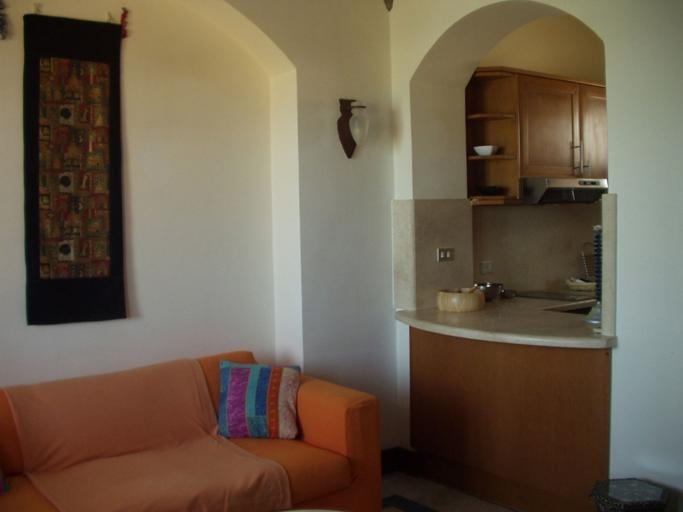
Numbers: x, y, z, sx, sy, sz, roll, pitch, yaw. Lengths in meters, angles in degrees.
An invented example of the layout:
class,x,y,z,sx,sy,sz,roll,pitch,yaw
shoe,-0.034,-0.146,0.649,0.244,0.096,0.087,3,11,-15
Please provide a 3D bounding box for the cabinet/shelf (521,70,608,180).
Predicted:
class,x,y,z,sx,sy,sz,roll,pitch,yaw
cabinet/shelf,1.889,-0.936,4.813,0.905,0.921,0.366,5,-21,5

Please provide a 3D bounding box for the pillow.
class,x,y,z,sx,sy,sz,roll,pitch,yaw
pillow,-0.496,0.845,3.408,0.396,0.426,0.141,4,-17,3

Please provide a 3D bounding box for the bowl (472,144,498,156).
class,x,y,z,sx,sy,sz,roll,pitch,yaw
bowl,1.097,-0.802,4.448,0.180,0.099,0.187,-1,5,0

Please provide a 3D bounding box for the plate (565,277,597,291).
class,x,y,z,sx,sy,sz,roll,pitch,yaw
plate,2.078,0.237,5.104,0.226,0.088,0.328,1,6,19

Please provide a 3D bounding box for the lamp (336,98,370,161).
class,x,y,z,sx,sy,sz,roll,pitch,yaw
lamp,0.066,-0.883,4.039,0.195,0.454,0.071,-1,-1,-5

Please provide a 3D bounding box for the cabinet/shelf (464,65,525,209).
class,x,y,z,sx,sy,sz,roll,pitch,yaw
cabinet/shelf,1.166,-0.917,4.478,0.391,0.993,0.236,-1,5,-6
